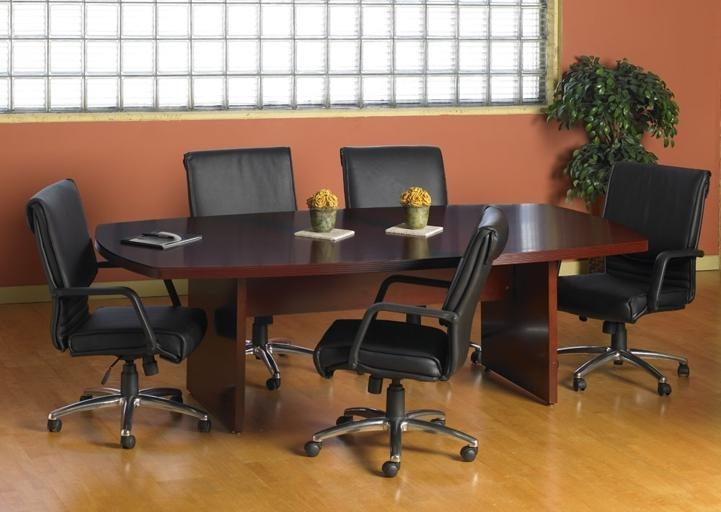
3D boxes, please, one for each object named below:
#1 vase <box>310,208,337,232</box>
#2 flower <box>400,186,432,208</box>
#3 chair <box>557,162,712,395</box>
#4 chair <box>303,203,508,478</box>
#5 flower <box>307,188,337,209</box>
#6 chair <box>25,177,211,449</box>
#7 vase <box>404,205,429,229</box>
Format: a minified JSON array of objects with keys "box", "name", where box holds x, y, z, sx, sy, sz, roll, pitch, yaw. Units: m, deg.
[{"box":[-0.188,-0.183,3.254,0.137,0.089,0.121,0,3,-4],"name":"vase"},{"box":[0.276,-0.298,3.349,0.166,0.057,0.154,-1,14,-2],"name":"flower"},{"box":[1.539,0.094,3.818,0.895,1.182,0.881,-9,13,-14],"name":"chair"},{"box":[0.220,0.390,2.949,0.882,0.997,0.705,1,5,10],"name":"chair"},{"box":[-0.212,-0.280,3.257,0.154,0.054,0.131,-4,12,-19],"name":"flower"},{"box":[-1.167,0.268,3.042,0.844,1.193,0.538,5,15,20],"name":"chair"},{"box":[0.287,-0.199,3.291,0.126,0.085,0.114,0,4,-7],"name":"vase"}]
